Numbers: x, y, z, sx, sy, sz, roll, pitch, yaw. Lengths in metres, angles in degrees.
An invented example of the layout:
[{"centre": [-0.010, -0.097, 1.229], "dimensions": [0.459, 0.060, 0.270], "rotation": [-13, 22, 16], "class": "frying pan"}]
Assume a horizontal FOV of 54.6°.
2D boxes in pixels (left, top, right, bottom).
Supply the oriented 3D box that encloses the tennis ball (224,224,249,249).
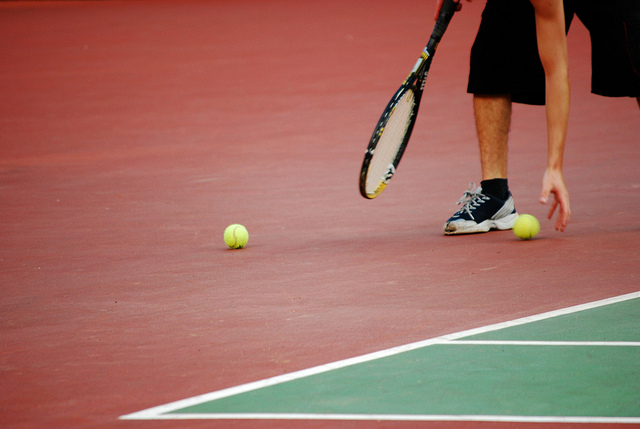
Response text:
[{"centre": [-0.455, 0.123, 3.370], "dimensions": [0.128, 0.122, 0.125], "rotation": [1, 6, 0], "class": "tennis ball"}]
